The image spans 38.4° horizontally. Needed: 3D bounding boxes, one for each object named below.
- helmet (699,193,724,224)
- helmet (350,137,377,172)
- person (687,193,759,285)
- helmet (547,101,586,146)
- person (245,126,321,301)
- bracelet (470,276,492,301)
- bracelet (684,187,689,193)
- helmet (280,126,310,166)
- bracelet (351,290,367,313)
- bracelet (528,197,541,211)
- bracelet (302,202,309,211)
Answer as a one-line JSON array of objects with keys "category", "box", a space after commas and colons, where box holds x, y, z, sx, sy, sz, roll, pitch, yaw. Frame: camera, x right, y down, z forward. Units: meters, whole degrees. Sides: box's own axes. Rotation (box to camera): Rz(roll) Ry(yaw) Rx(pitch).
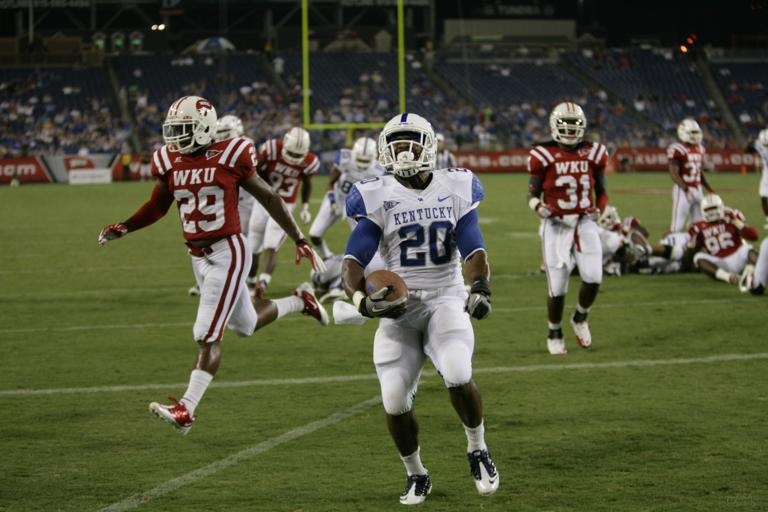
[{"category": "helmet", "box": [4.509, -0.646, 15.047, 0.298, 0.392, 0.332, 2, 10, 17]}, {"category": "helmet", "box": [-0.269, -1.542, 16.296, 0.367, 0.402, 0.471, 4, 18, 2]}, {"category": "person", "box": [4.701, -0.180, 15.194, 0.665, 1.386, 0.735, 4, -3, -32]}, {"category": "helmet", "box": [2.068, -1.490, 12.530, 0.388, 0.438, 0.513, -1, 7, -2]}, {"category": "person", "box": [-1.412, -0.538, 15.392, 0.988, 2.326, 1.052, 0, -2, -2]}, {"category": "bracelet", "box": [0.890, 0.303, 9.950, 0.172, 0.150, 0.181, 5, -23, 3]}, {"category": "bracelet", "box": [4.419, -0.952, 16.040, 0.072, 0.069, 0.100, -13, 3, 21]}, {"category": "helmet", "box": [-1.219, -1.577, 15.168, 0.398, 0.447, 0.508, 4, 42, -18]}, {"category": "bracelet", "box": [-0.216, 0.406, 9.844, 0.148, 0.142, 0.165, 2, -10, -4]}, {"category": "bracelet", "box": [1.727, -0.588, 12.578, 0.145, 0.138, 0.145, 0, 8, 9]}, {"category": "bracelet", "box": [-1.114, -0.708, 15.701, 0.089, 0.127, 0.087, -1, 1, -7]}]
